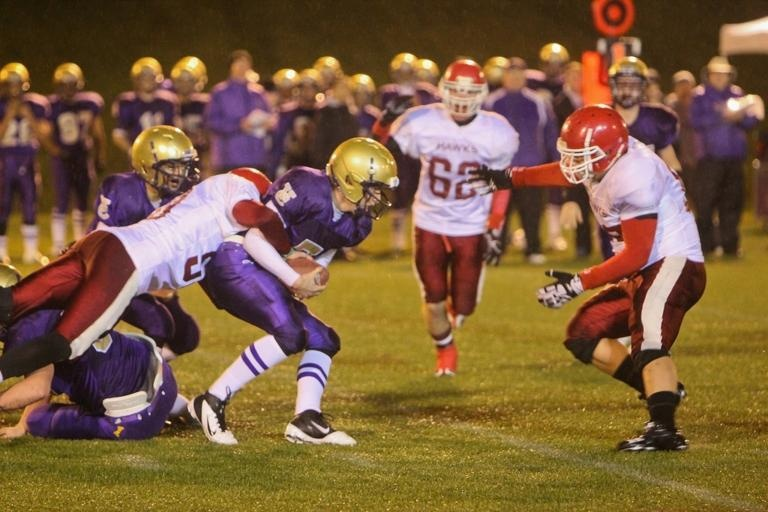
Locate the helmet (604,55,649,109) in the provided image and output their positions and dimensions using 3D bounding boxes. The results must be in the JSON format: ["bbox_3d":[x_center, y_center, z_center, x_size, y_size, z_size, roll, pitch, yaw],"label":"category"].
[{"bbox_3d":[1.772,-1.264,8.141,0.282,0.374,0.270,4,9,21],"label":"helmet"}]

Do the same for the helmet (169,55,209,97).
[{"bbox_3d":[-1.953,-1.786,11.046,0.319,0.377,0.393,-1,9,-12],"label":"helmet"}]

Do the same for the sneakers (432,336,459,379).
[{"bbox_3d":[0.421,0.688,7.644,0.150,0.257,0.189,2,9,2],"label":"sneakers"}]

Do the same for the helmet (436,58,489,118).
[{"bbox_3d":[0.527,-1.176,7.586,0.337,0.389,0.322,3,-31,3],"label":"helmet"}]

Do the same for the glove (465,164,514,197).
[{"bbox_3d":[0.687,-0.512,7.442,0.220,0.136,0.070,-15,1,32],"label":"glove"}]

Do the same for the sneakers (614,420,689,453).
[{"bbox_3d":[1.555,1.060,6.481,0.469,0.186,0.148,1,1,0],"label":"sneakers"}]

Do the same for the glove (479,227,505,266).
[{"bbox_3d":[0.740,-0.058,7.663,0.153,0.242,0.069,3,-2,6],"label":"glove"}]

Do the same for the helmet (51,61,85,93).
[{"bbox_3d":[-3.035,-1.696,10.648,0.250,0.280,0.378,-2,9,-19],"label":"helmet"}]

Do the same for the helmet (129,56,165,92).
[{"bbox_3d":[-2.300,-1.745,10.712,0.263,0.326,0.486,-1,9,-13],"label":"helmet"}]

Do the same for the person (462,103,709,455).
[{"bbox_3d":[1.336,0.091,6.680,1.102,1.970,0.775,4,9,19],"label":"person"}]
